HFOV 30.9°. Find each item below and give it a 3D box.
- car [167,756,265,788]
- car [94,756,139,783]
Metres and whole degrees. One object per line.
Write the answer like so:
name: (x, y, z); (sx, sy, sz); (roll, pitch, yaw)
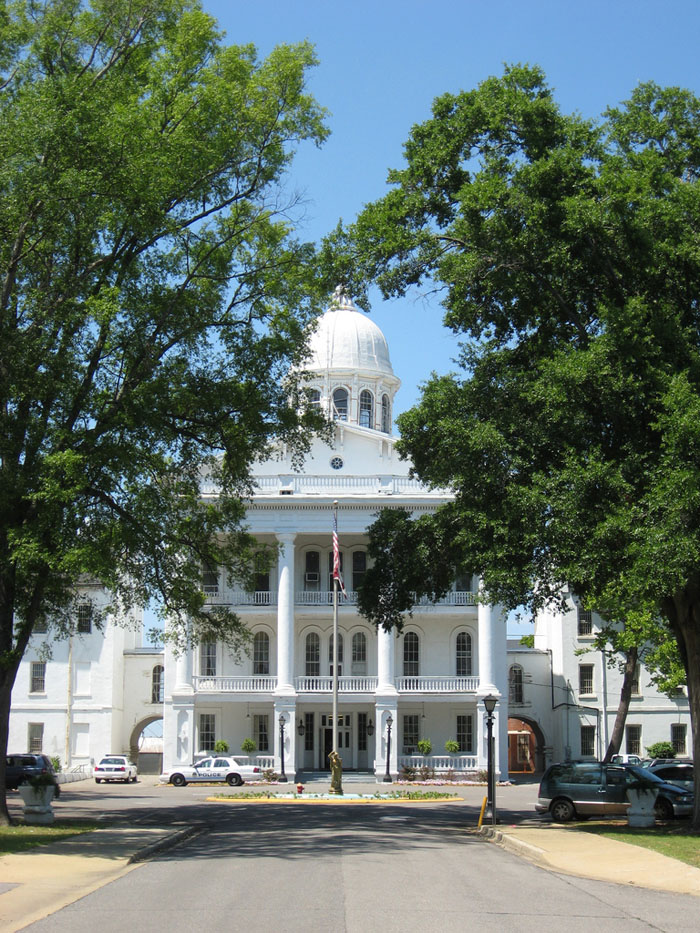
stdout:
car: (-5.502, 12.331, 51.456); (4.115, 1.090, 1.307); (-10, -16, 38)
car: (-10.475, 13.538, 56.894); (1.756, 1.181, 1.919); (-3, -13, 15)
